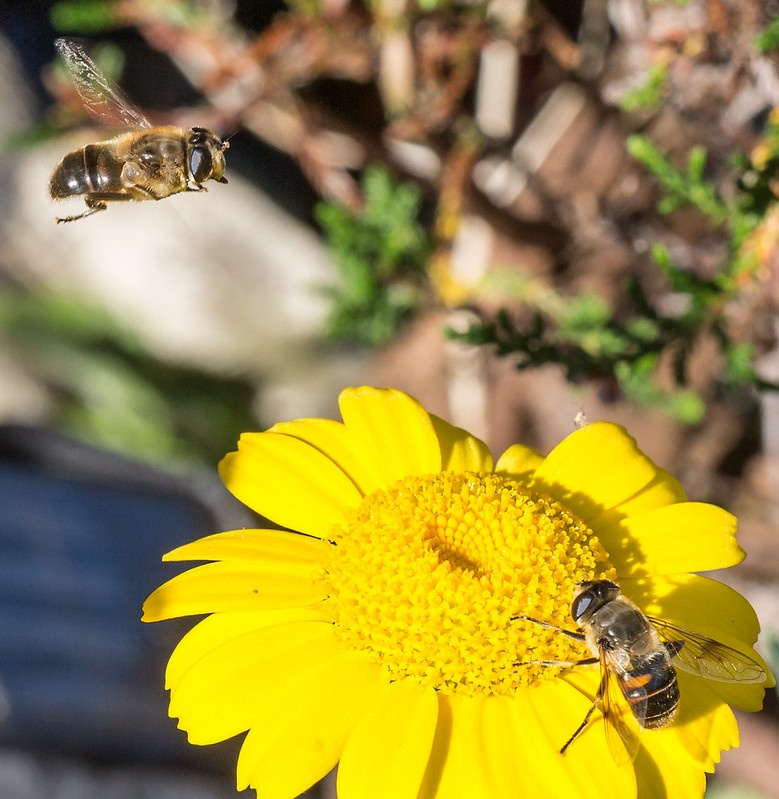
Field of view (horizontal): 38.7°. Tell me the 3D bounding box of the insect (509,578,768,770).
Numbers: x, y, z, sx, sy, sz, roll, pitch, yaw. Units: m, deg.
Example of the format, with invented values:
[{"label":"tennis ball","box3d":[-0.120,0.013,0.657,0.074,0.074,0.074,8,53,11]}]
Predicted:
[{"label":"insect","box3d":[0.323,0.385,1.509,0.271,0.097,0.322,41,46,7]}]
